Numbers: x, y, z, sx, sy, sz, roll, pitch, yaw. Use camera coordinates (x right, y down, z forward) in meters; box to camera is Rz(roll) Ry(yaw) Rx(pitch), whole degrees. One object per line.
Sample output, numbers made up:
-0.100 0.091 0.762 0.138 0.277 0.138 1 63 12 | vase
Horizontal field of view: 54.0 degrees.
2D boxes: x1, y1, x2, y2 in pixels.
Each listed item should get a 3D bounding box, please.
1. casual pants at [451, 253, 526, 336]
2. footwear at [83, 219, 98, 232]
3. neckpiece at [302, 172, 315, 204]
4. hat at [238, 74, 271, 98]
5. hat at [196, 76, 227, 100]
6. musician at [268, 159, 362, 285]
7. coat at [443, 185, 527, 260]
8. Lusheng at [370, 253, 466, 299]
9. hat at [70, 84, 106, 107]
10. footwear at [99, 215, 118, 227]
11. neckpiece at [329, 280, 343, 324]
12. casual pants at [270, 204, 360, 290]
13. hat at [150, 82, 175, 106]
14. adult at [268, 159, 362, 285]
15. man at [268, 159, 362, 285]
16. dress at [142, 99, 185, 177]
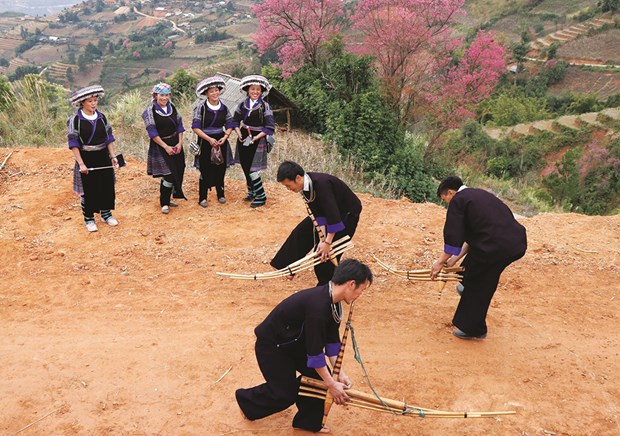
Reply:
2.955 1.242 10.514 0.837 1.800 0.782 11 17 11 | casual pants
-4.445 0.135 12.340 0.147 0.179 0.428 -25 43 -33 | footwear
-0.022 -0.474 10.157 0.257 0.487 0.128 2 19 0 | neckpiece
-1.151 -2.752 12.696 0.615 0.440 0.430 -4 20 -19 | hat
-2.045 -2.675 12.508 0.550 0.449 0.443 0 19 -9 | hat
0.031 0.162 11.194 1.968 2.734 1.290 -8 37 -6 | musician
3.002 0.120 10.553 1.711 1.463 1.107 4 -14 -37 | coat
1.878 1.014 10.959 0.166 0.591 2.325 2 5 -31 | Lusheng
-4.256 -2.325 11.626 0.562 0.392 0.487 -3 19 -15 | hat
-4.149 0.031 12.574 0.333 0.133 0.164 23 48 36 | footwear
0.386 1.309 9.141 0.122 0.513 0.404 -8 13 13 | neckpiece
-0.257 0.496 11.154 0.556 0.737 1.712 48 44 3 | casual pants
-3.021 -2.510 12.342 0.379 0.452 0.464 -2 19 -14 | hat
0.031 0.162 11.194 1.968 2.734 1.290 -8 37 -6 | adult
0.031 0.162 11.194 1.968 2.734 1.290 -8 37 -6 | man
-3.023 -1.588 12.560 0.774 1.529 0.459 -4 20 -18 | dress
